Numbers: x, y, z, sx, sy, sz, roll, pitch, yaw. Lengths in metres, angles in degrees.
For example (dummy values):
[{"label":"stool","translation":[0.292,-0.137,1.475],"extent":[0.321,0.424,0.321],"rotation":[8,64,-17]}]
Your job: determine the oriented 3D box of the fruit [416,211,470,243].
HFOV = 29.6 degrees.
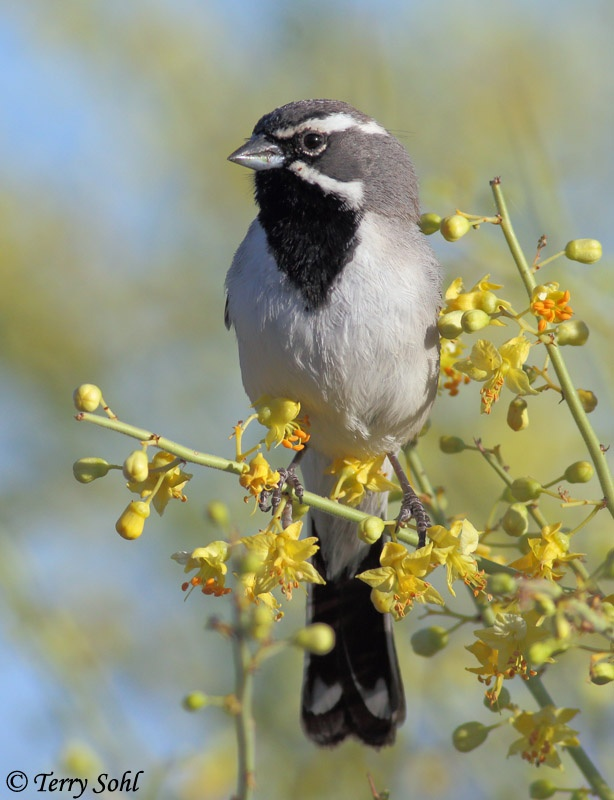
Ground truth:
[{"label":"fruit","translation":[0.389,-0.512,3.447],"extent":[0.146,0.054,0.136],"rotation":[9,22,22]}]
